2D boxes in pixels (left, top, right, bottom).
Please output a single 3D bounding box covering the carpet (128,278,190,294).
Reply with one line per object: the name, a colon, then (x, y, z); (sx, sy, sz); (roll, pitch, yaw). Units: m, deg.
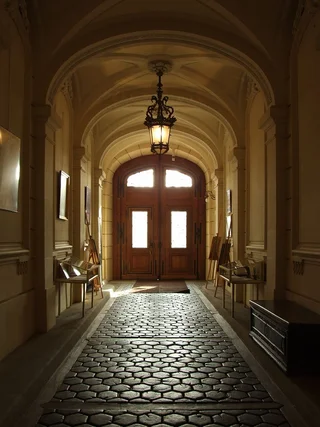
carpet: (0.015, 2.288, 9.882); (1.661, 0.142, 2.643); (2, -7, 0)
